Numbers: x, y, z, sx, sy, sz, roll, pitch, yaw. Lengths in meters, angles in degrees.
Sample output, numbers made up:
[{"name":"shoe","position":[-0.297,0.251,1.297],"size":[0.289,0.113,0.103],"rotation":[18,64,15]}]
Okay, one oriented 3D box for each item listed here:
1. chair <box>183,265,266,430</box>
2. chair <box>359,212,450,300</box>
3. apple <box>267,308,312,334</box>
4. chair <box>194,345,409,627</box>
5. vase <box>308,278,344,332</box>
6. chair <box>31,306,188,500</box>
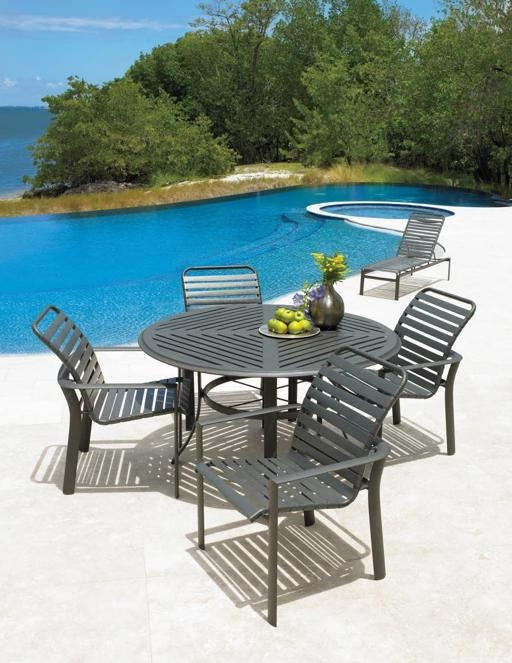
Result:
[{"name":"chair","position":[-0.272,0.042,4.889],"size":[0.838,1.117,0.781],"rotation":[9,59,3]},{"name":"chair","position":[2.396,-1.250,9.263],"size":[0.723,1.075,1.862],"rotation":[3,-4,-21]},{"name":"apple","position":[0.198,-0.062,3.347],"size":[0.195,0.091,0.191],"rotation":[5,12,23]},{"name":"chair","position":[0.163,0.589,2.405],"size":[0.841,0.825,0.846],"rotation":[-3,9,-5]},{"name":"vase","position":[0.436,-0.180,3.413],"size":[0.215,0.280,0.190],"rotation":[-8,20,-16]},{"name":"chair","position":[-0.794,0.360,3.241],"size":[0.824,0.905,0.697],"rotation":[2,15,-4]}]
